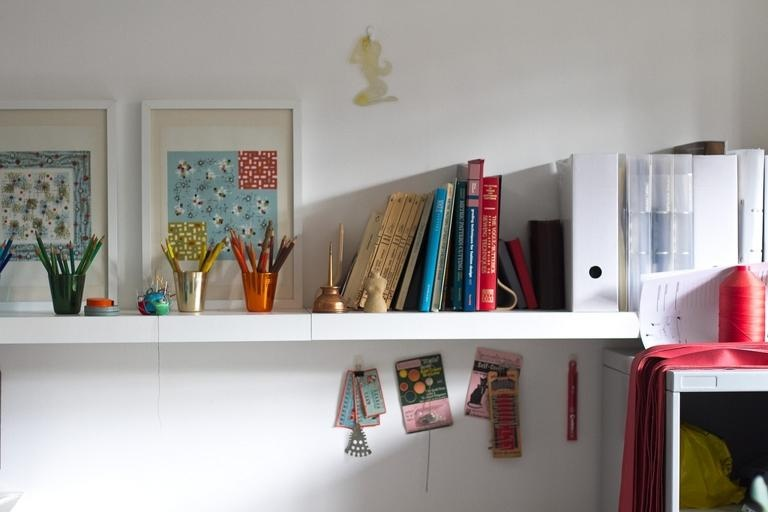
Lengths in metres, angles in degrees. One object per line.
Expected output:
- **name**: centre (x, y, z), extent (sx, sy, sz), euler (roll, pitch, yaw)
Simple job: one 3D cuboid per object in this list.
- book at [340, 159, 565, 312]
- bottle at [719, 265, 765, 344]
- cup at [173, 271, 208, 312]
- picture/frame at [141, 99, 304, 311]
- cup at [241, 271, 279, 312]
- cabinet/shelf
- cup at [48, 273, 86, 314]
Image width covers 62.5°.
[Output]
- **book**: centre (0.236, -0.079, 2.070), extent (0.739, 0.464, 0.201), euler (-1, 0, 4)
- **bottle**: centre (1.065, 0.138, 1.876), extent (0.120, 0.204, 0.067), euler (-1, 0, 26)
- **cup**: centre (-0.610, 0.111, 2.002), extent (0.114, 0.125, 0.118), euler (0, -9, 0)
- **picture/frame**: centre (-0.553, -0.168, 2.089), extent (0.691, 0.836, 0.059), euler (0, -5, -5)
- **cup**: centre (-0.403, 0.112, 2.056), extent (0.121, 0.123, 0.119), euler (0, -1, 0)
- **cabinet/shelf**: centre (0.919, 0.519, 1.889), extent (0.524, 0.526, 0.365), euler (1, -9, -5)
- **cup**: centre (-1.013, 0.118, 2.026), extent (0.118, 0.125, 0.119), euler (-3, -3, 0)
